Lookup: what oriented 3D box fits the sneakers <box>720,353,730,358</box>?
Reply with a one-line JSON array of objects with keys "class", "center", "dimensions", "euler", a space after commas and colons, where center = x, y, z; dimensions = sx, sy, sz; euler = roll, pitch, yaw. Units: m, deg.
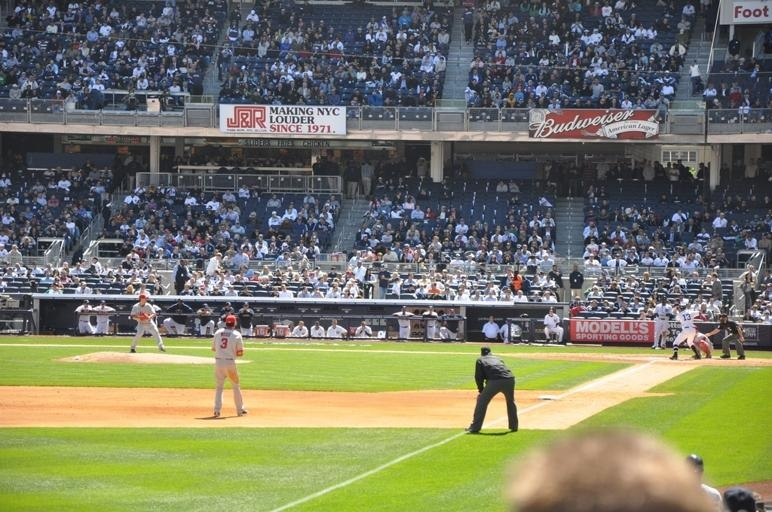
[{"class": "sneakers", "center": [15.698, 4.724, 74.309], "dimensions": [0.465, 0.231, 0.158], "euler": [3, 3, 11]}]
